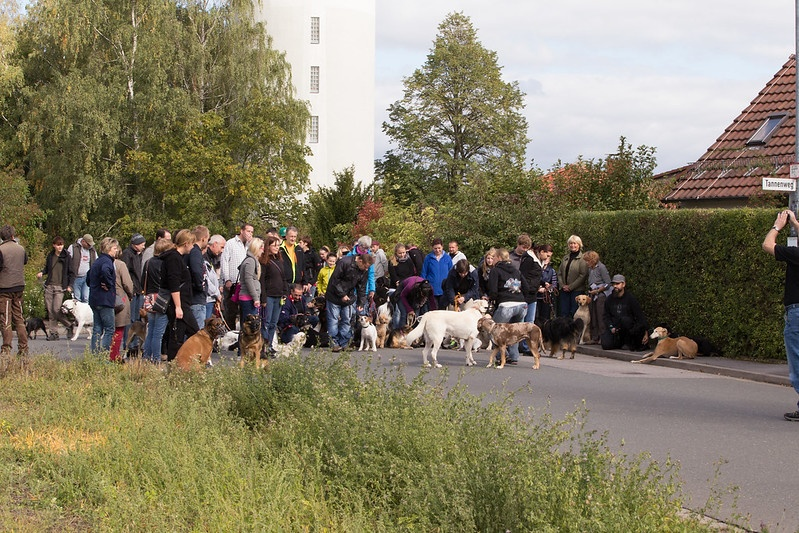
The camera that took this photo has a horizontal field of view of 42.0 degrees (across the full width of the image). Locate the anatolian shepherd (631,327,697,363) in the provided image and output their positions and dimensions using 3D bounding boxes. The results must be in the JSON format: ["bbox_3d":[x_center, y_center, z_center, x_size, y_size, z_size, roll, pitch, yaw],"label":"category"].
[{"bbox_3d":[7.058,2.033,27.029,1.911,1.213,0.757,-2,0,4],"label":"anatolian shepherd"}]

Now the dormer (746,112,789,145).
[{"bbox_3d":[12.977,-4.805,36.576,1.083,1.232,1.235,-4,13,-33],"label":"dormer"}]
